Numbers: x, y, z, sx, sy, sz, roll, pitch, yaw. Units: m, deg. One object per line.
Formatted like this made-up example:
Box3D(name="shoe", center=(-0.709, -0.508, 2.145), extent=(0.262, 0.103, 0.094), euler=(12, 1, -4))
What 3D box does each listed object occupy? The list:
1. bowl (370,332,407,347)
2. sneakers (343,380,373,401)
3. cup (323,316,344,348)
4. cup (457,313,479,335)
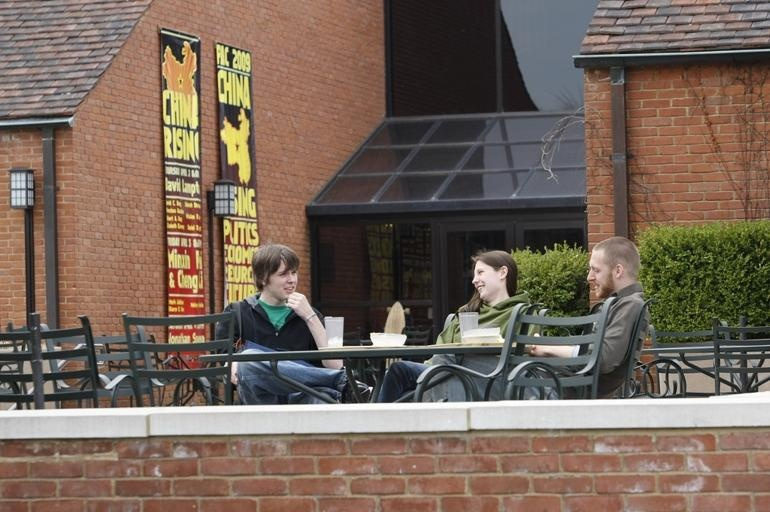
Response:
Box3D(name="bowl", center=(0.053, 0.956, 25.327), extent=(0.337, 0.129, 0.322), euler=(1, -1, 0))
Box3D(name="sneakers", center=(-0.300, 1.538, 25.173), extent=(0.229, 0.120, 0.315), euler=(-4, -16, 22))
Box3D(name="cup", center=(-0.552, 0.851, 24.617), extent=(0.200, 0.337, 0.221), euler=(-1, -4, -5))
Box3D(name="cup", center=(0.933, 0.752, 24.525), extent=(0.239, 0.237, 0.236), euler=(0, -4, 0))
